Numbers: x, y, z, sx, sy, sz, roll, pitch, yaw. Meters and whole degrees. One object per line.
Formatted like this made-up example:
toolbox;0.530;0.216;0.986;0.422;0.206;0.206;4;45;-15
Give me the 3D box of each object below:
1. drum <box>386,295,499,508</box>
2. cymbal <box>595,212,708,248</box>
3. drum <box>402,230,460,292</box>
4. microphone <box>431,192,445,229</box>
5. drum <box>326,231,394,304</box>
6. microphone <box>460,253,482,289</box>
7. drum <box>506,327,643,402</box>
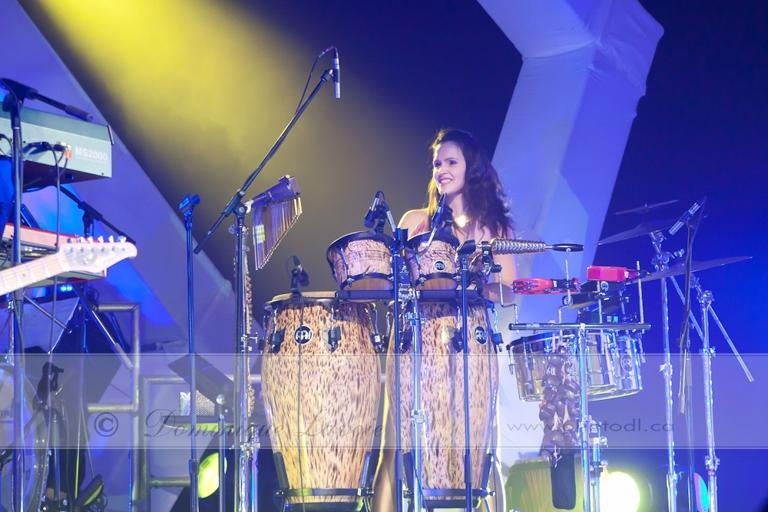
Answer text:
drum;0.419;1.034;5.662;0.805;1.356;0.530;1;-20;1
cymbal;2.021;-0.204;6.191;0.425;0.112;0.459;-16;-19;-21
drum;0.350;0.036;5.698;0.374;0.309;0.380;-26;-41;24
microphone;0.419;-0.349;6.184;0.089;0.091;0.370;-6;-16;2
drum;-0.185;0.067;5.886;0.559;0.411;0.566;-2;-1;0
microphone;0.624;0.072;5.667;0.165;0.173;0.131;-7;-48;35
drum;1.432;0.778;5.863;0.673;0.297;0.589;0;-22;-4
